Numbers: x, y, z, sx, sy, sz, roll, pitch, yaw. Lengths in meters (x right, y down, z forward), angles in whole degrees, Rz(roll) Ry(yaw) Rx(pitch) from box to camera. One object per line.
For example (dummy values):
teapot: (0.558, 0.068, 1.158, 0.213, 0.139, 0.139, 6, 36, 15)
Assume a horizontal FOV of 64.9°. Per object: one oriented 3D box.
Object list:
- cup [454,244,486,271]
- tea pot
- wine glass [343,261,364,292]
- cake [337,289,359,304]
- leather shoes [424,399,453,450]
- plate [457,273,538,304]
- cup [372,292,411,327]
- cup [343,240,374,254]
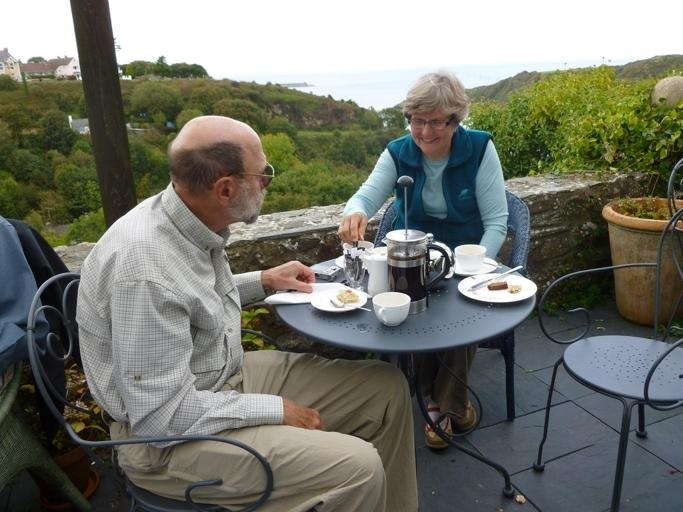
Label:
cup: (0.634, 0.007, 2.650, 0.131, 0.101, 0.136, -4, 25, 2)
tea pot: (0.309, 0.056, 2.334, 0.395, 0.431, 0.238, -2, 14, -7)
wine glass: (0.069, 0.095, 2.582, 0.114, 0.187, 0.114, -4, 16, -2)
cake: (0.033, 0.179, 2.417, 0.062, 0.030, 0.065, -1, 20, -5)
leather shoes: (0.538, 0.914, 2.960, 0.114, 0.122, 0.279, -1, 27, 8)
plate: (0.715, 0.147, 2.486, 0.341, 0.067, 0.261, -7, 19, 3)
cup: (0.214, 0.217, 2.270, 0.118, 0.084, 0.154, 5, 23, 24)
cup: (0.087, -0.044, 2.601, 0.095, 0.040, 0.077, -10, 21, -25)
